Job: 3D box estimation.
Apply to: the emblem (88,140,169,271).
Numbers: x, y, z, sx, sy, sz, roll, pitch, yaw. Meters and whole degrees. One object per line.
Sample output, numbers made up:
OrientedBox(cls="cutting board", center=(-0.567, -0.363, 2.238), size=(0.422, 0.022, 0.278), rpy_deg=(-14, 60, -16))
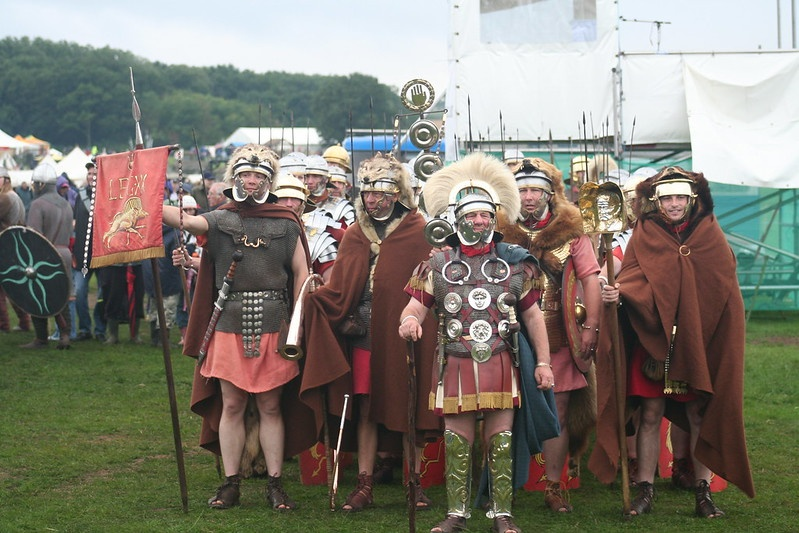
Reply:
OrientedBox(cls="emblem", center=(-3.209, -0.726, 17.573), size=(0.949, 1.403, 0.364), rpy_deg=(-1, 2, -4))

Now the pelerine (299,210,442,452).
OrientedBox(cls="pelerine", center=(-0.385, 0.744, 17.993), size=(1.481, 2.964, 1.284), rpy_deg=(0, 1, 7))

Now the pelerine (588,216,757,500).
OrientedBox(cls="pelerine", center=(3.307, 1.045, 17.857), size=(1.782, 3.362, 0.548), rpy_deg=(-1, 2, 0))
